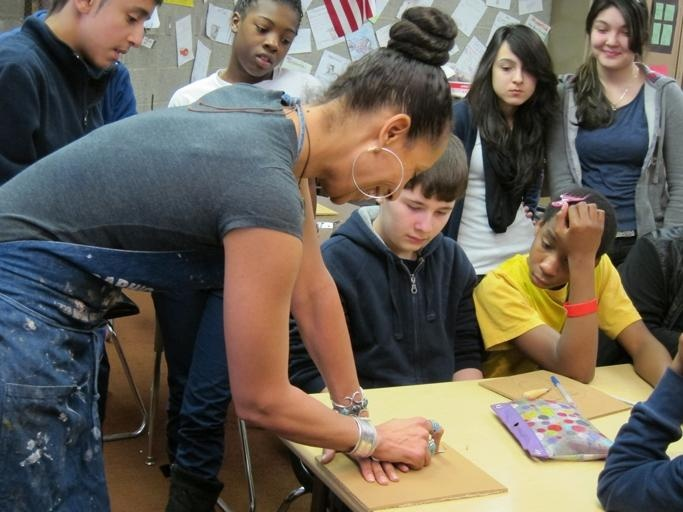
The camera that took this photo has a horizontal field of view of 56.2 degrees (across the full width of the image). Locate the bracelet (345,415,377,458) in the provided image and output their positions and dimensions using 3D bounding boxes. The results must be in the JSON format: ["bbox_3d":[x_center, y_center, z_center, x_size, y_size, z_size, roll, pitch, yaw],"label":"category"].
[{"bbox_3d":[0.049,0.384,1.372,0.051,0.081,0.064,-20,48,-11],"label":"bracelet"}]

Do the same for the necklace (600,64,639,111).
[{"bbox_3d":[1.165,-0.717,2.669,0.143,0.215,0.073,-1,-1,0],"label":"necklace"}]

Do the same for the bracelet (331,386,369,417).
[{"bbox_3d":[0.020,0.342,1.512,0.055,0.051,0.067,-9,-11,-41],"label":"bracelet"}]

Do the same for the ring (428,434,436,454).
[{"bbox_3d":[0.202,0.421,1.414,0.020,0.031,0.029,-2,-14,0],"label":"ring"}]
